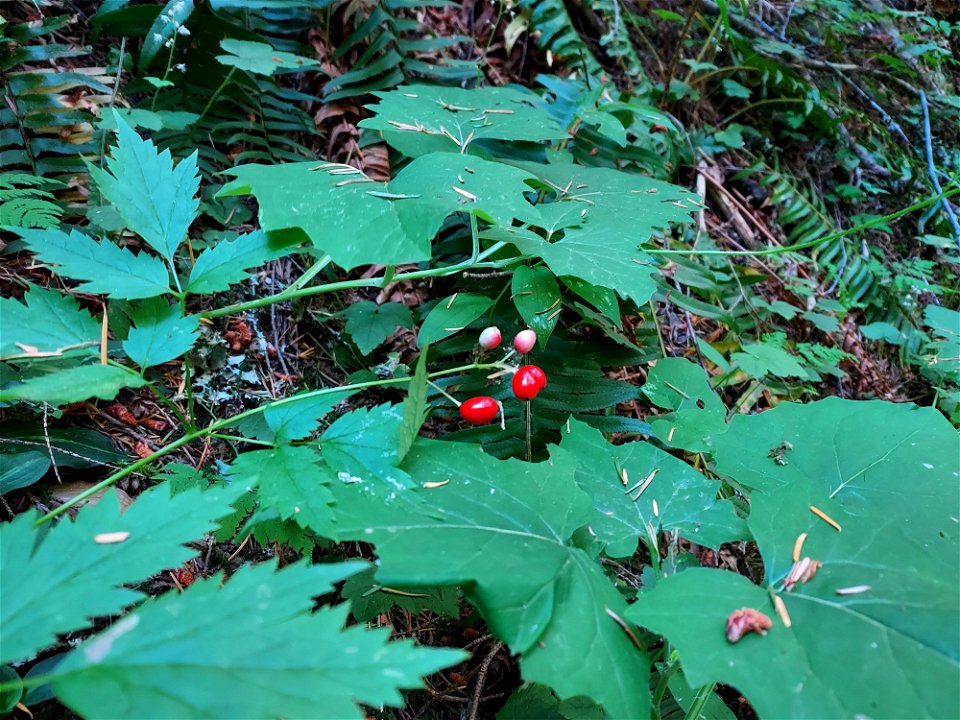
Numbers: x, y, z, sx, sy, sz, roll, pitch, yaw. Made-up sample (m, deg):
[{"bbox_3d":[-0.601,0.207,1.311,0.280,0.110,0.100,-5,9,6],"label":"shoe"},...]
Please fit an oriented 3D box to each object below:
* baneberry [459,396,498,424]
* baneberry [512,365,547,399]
[{"bbox_3d":[-0.002,0.138,2.105,0.100,0.068,0.070,1,5,-22],"label":"baneberry"},{"bbox_3d":[0.136,0.066,2.157,0.099,0.052,0.091,12,72,-35],"label":"baneberry"}]
